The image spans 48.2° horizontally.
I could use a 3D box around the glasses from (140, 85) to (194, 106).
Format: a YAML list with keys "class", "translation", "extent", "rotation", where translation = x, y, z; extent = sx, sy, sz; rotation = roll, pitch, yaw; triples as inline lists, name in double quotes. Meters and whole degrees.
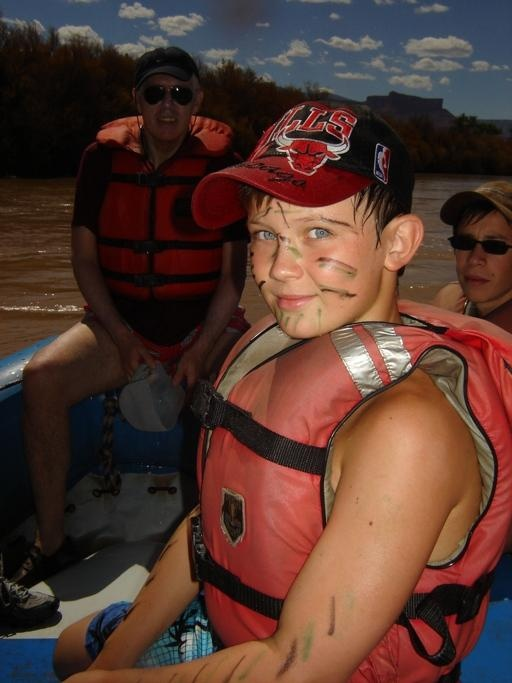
- class: "glasses"
  translation: [-0.420, -1.164, 2.693]
  extent: [0.153, 0.041, 0.137]
  rotation: [0, -3, -6]

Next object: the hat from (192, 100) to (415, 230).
- class: "hat"
  translation: [0.138, -0.296, 1.106]
  extent: [0.405, 0.187, 0.278]
  rotation: [11, 4, -27]
